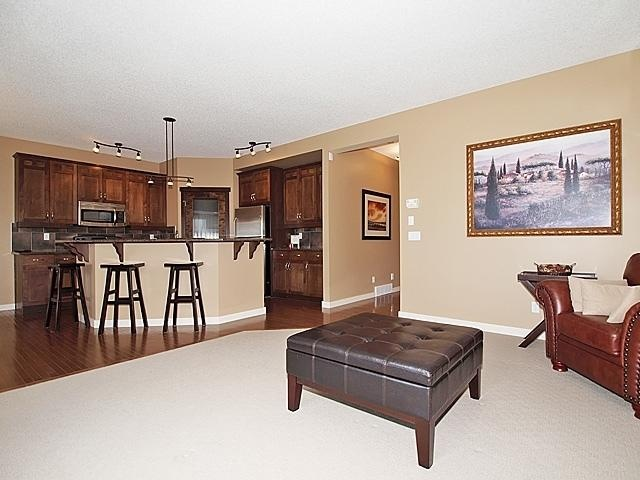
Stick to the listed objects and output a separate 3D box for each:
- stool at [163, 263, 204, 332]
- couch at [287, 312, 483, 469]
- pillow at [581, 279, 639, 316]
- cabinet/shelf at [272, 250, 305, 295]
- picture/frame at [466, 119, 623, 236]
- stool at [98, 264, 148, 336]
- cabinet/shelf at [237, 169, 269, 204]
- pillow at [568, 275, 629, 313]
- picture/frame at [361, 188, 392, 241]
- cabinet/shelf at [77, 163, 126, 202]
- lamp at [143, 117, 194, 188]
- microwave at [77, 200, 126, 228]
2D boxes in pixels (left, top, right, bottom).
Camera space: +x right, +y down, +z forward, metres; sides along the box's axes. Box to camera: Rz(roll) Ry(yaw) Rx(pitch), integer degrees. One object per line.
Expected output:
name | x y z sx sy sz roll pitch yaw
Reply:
stool | -1.793 0.721 5.516 0.525 0.871 0.500 -2 2 -15
couch | 0.621 1.100 3.647 1.579 0.602 1.537 -4 6 -37
pillow | 2.582 0.511 3.837 0.366 0.111 0.344 5 43 34
cabinet/shelf | -0.498 0.604 7.931 0.923 0.869 0.359 0 0 39
picture/frame | 2.655 -0.718 4.840 1.530 1.057 0.060 0 0 36
stool | -2.521 0.728 5.348 0.586 0.874 0.503 -2 3 -22
cabinet/shelf | -1.396 -1.024 8.235 0.336 0.713 0.825 18 24 36
pillow | 2.587 0.494 3.885 0.387 0.414 0.120 -14 16 10
picture/frame | 1.040 -0.469 7.896 0.039 0.970 1.069 -2 -3 38
cabinet/shelf | -4.133 -0.955 7.874 0.817 0.701 0.305 3 -12 -40
lamp | -2.695 -1.585 7.551 0.836 1.166 0.815 -9 17 -42
microwave | -4.018 -0.476 7.746 0.144 0.442 0.873 1 2 31
